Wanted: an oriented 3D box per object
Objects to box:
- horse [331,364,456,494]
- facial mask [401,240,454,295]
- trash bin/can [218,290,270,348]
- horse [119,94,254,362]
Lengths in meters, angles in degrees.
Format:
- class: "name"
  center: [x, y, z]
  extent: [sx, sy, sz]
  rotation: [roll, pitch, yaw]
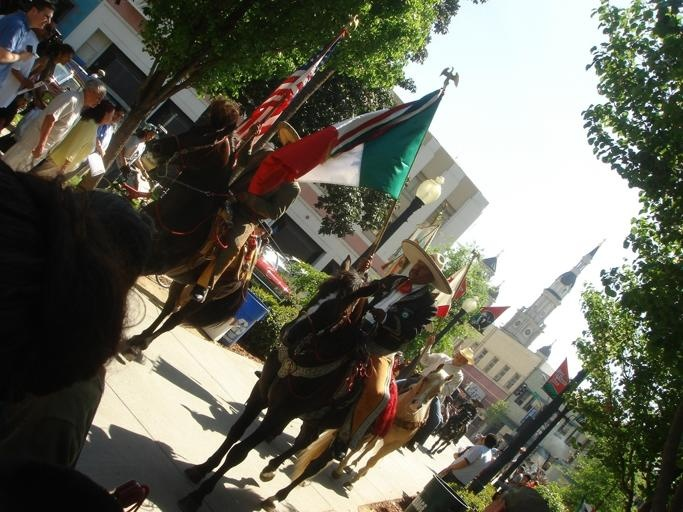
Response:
- class: "horse"
  center: [1.062, 2.593, 7.646]
  extent: [0.644, 1.390, 2.212]
  rotation: [36, 33, -17]
- class: "facial mask"
  center: [0.909, 0.062, 5.396]
  extent: [0.776, 0.279, 0.350]
  rotation: [40, -6, 24]
- class: "trash bin/can"
  center: [-1.930, 0.994, 9.361]
  extent: [0.776, 1.325, 0.779]
  rotation: [-3, 29, -45]
- class: "horse"
  center: [-1.795, -0.444, 5.583]
  extent: [1.106, 3.503, 1.366]
  rotation: [1, 8, -27]
